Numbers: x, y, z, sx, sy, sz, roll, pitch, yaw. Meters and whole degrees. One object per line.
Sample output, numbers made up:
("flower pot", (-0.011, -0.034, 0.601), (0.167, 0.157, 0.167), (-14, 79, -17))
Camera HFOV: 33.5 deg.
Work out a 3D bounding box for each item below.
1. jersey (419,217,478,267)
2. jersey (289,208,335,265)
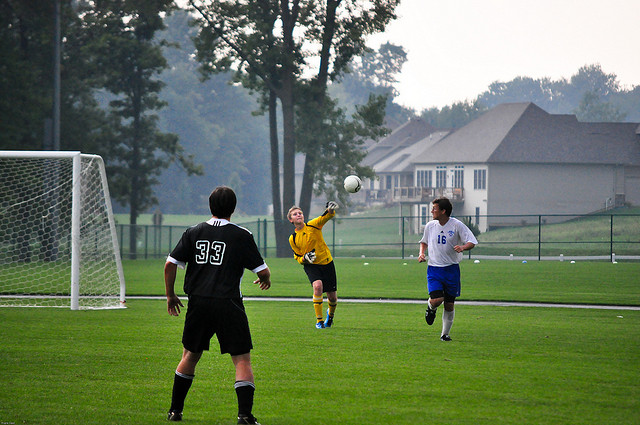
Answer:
("jersey", (5.676, 1.332, 46.584), (3.054, 2.221, 1.090), (1, -5, 14))
("jersey", (-0.365, 0.982, 43.099), (1.698, 1.542, 0.640), (1, 1, 7))
